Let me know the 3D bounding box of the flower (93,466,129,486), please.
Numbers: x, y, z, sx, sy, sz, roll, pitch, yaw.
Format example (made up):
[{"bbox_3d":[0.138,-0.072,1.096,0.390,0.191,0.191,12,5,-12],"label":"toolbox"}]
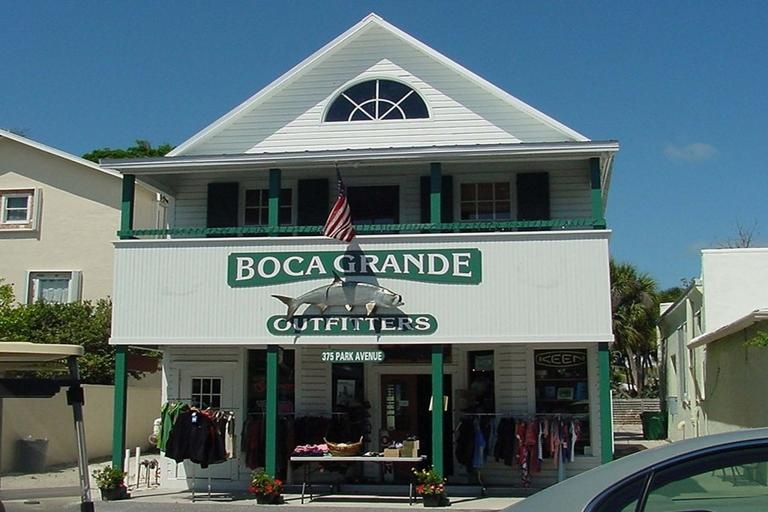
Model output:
[{"bbox_3d":[-6.731,5.395,26.334,0.608,0.438,0.575,3,-11,-7],"label":"flower"}]

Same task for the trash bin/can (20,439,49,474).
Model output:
[{"bbox_3d":[-5.430,3.150,16.895,0.508,0.540,0.494,11,-22,-38],"label":"trash bin/can"}]

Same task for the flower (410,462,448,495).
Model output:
[{"bbox_3d":[1.087,5.411,25.902,0.920,0.630,0.778,-1,-12,7],"label":"flower"}]

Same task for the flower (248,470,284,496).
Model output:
[{"bbox_3d":[-2.881,5.553,26.044,0.653,0.449,0.650,7,-17,-15],"label":"flower"}]

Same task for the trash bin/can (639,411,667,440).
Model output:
[{"bbox_3d":[9.493,6.056,38.191,0.910,0.919,0.934,15,-20,-35],"label":"trash bin/can"}]
